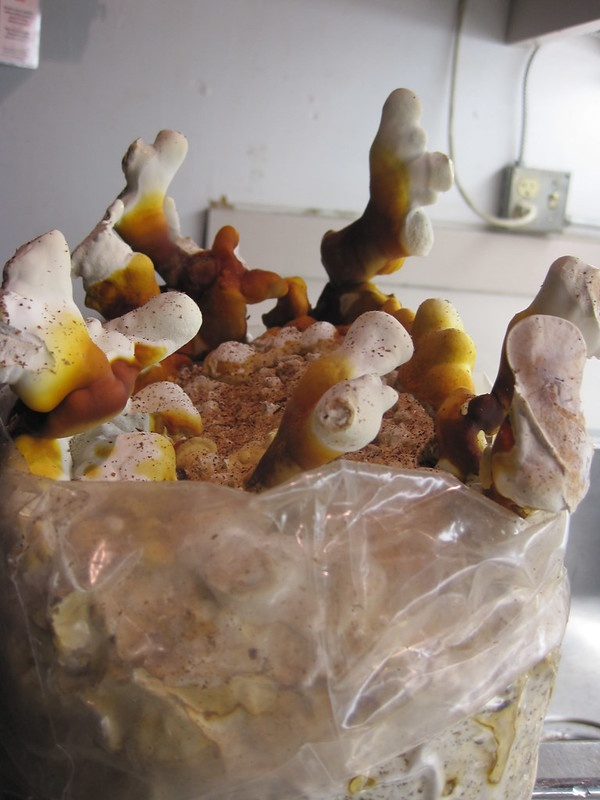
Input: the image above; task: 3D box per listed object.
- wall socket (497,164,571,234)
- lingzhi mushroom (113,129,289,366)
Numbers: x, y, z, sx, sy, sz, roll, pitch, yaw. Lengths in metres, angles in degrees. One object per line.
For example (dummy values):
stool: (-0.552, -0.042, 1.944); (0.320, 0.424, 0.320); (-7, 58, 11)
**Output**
wall socket: (0.466, -0.399, 1.789); (0.131, 0.134, 0.052); (-2, 22, -13)
lingzhi mushroom: (-0.101, -0.138, 0.858); (0.081, 0.208, 0.127); (-21, 32, 37)
